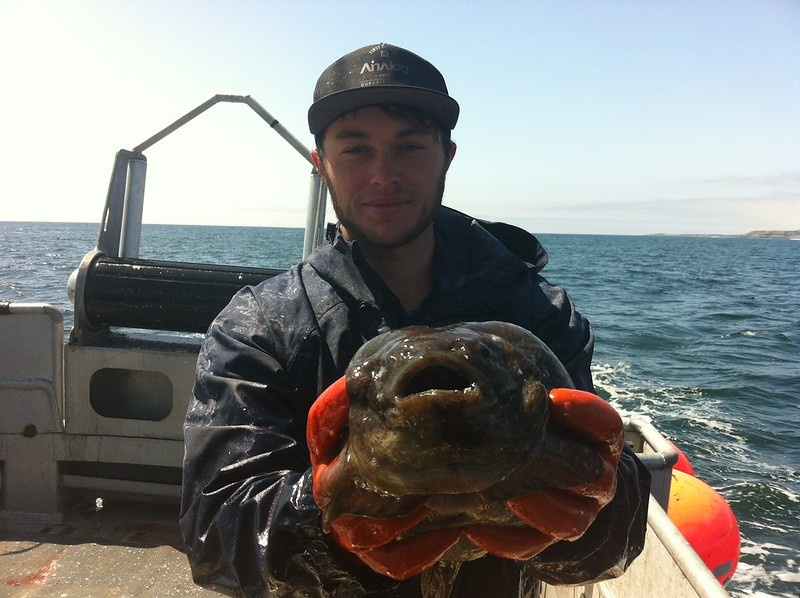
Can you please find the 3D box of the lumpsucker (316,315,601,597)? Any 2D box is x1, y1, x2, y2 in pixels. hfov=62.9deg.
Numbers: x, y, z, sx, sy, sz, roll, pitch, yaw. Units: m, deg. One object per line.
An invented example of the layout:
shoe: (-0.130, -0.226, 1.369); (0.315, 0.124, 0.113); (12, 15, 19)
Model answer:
lumpsucker: (0.216, 0.617, 2.567); (0.717, 1.091, 0.671); (-1, 45, 2)
